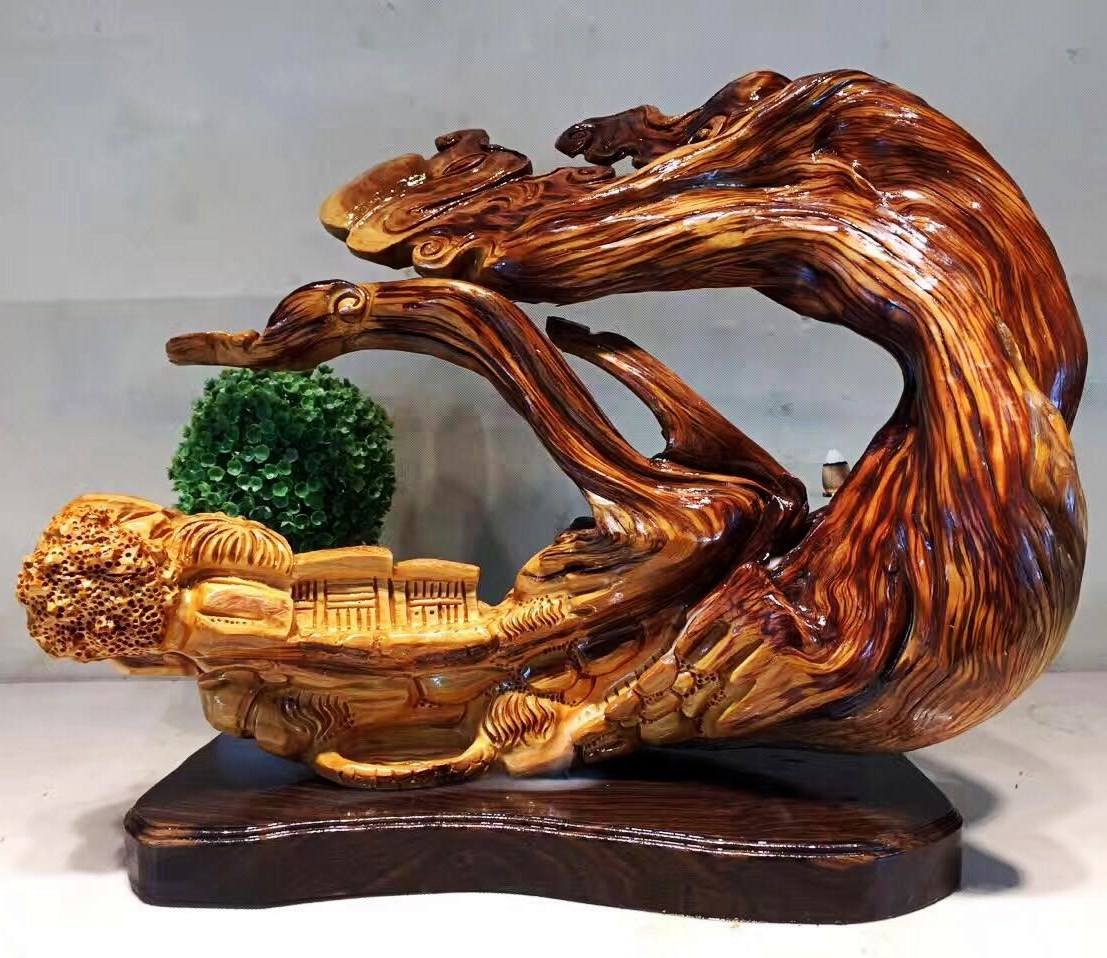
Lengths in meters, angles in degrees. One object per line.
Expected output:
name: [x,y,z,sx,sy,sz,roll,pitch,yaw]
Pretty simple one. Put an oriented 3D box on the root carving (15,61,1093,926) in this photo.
root carving: [0.060,0.027,4.016,2.512,1.569,1.059,-2,9,22]
